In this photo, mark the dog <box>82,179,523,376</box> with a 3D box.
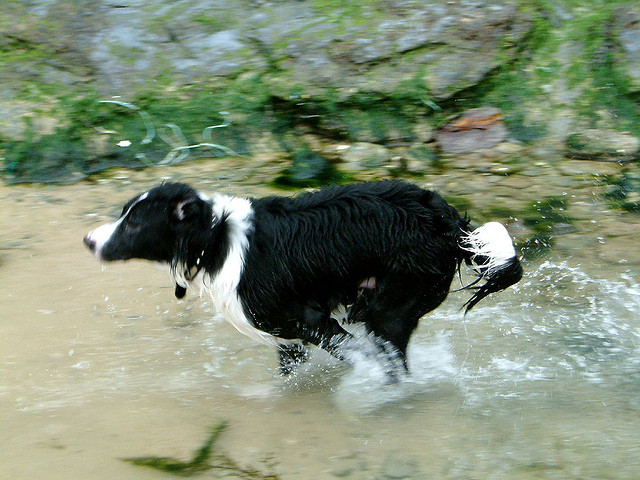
[{"bbox_3d":[0.702,0.192,5.074,4.390,1.366,0.902,0,39,0],"label":"dog"}]
